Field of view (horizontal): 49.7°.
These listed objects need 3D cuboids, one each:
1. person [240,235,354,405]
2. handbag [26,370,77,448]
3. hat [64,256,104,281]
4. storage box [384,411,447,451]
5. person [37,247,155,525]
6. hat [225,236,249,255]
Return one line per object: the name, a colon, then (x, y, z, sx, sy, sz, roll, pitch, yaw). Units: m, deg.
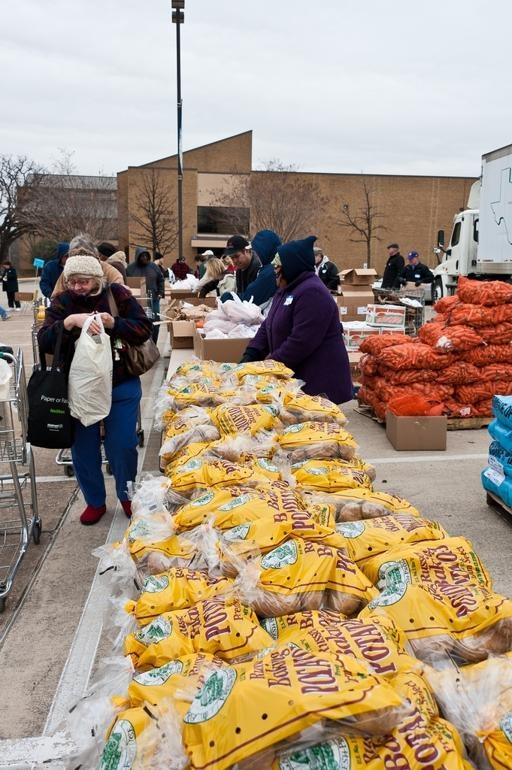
person: (0.166, -0.639, 4.651, 1.153, 1.680, 0.937, -1, 16, -4)
handbag: (-1.260, 0.144, 3.387, 0.359, 0.542, 0.301, 7, -7, -37)
hat: (-1.014, -0.694, 3.285, 0.162, 0.112, 0.182, 4, 10, 15)
storage box: (1.634, 0.489, 5.702, 0.419, 0.256, 0.419, 1, 1, -4)
person: (-1.033, 0.043, 3.674, 0.736, 1.890, 0.625, -3, 6, -7)
hat: (-0.176, -1.552, 6.026, 0.270, 0.156, 0.186, -29, 35, -27)
